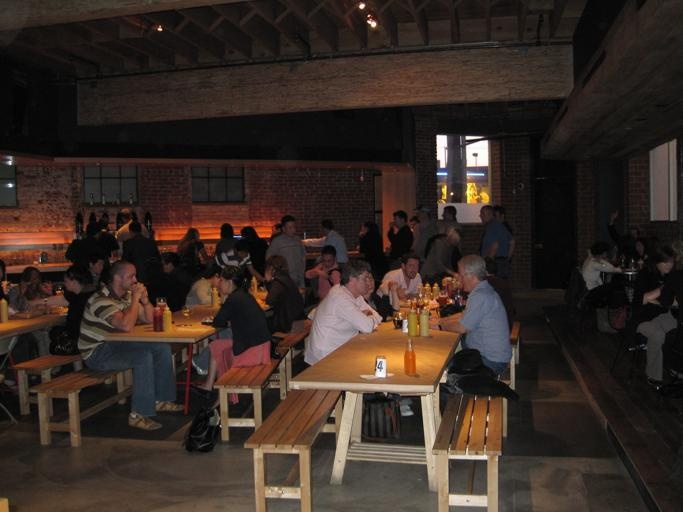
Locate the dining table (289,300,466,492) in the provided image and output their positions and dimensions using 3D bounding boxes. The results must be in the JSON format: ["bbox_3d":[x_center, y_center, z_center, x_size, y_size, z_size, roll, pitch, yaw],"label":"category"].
[{"bbox_3d":[0.134,1.840,5.681,1.136,0.874,2.774,-17,-25,-14],"label":"dining table"}]

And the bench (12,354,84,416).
[{"bbox_3d":[-3.298,1.412,6.974,0.483,0.469,0.971,-21,0,22],"label":"bench"}]

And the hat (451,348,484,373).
[{"bbox_3d":[1.175,0.942,5.499,0.209,0.097,0.257,1,4,43],"label":"hat"}]

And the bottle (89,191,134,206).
[{"bbox_3d":[-5.107,-1.248,13.247,1.026,0.271,0.169,1,4,-10],"label":"bottle"}]

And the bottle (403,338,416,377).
[{"bbox_3d":[0.543,0.773,4.702,0.103,0.263,0.277,2,4,6],"label":"bottle"}]

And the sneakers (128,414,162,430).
[{"bbox_3d":[-2.058,1.726,6.278,0.369,0.162,0.138,1,0,1],"label":"sneakers"}]

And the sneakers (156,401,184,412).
[{"bbox_3d":[-1.946,1.699,6.745,0.330,0.135,0.109,1,-1,-5],"label":"sneakers"}]

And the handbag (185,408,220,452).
[{"bbox_3d":[-1.310,1.654,5.667,0.299,0.344,0.186,10,-31,-7],"label":"handbag"}]

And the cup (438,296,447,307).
[{"bbox_3d":[1.254,0.547,7.367,0.105,0.103,0.103,0,2,0],"label":"cup"}]

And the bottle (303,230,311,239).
[{"bbox_3d":[-0.879,-0.528,14.863,0.186,0.180,0.162,0,-1,-16],"label":"bottle"}]

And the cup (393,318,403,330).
[{"bbox_3d":[0.599,0.735,6.449,0.091,0.076,0.097,1,-7,0],"label":"cup"}]

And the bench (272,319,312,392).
[{"bbox_3d":[-0.587,1.114,6.847,0.259,0.260,0.967,2,7,4],"label":"bench"}]

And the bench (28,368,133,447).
[{"bbox_3d":[-2.778,1.513,6.464,0.754,0.592,1.352,1,3,0],"label":"bench"}]

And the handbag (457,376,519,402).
[{"bbox_3d":[1.297,1.140,5.278,0.446,0.105,0.226,12,13,29],"label":"handbag"}]
